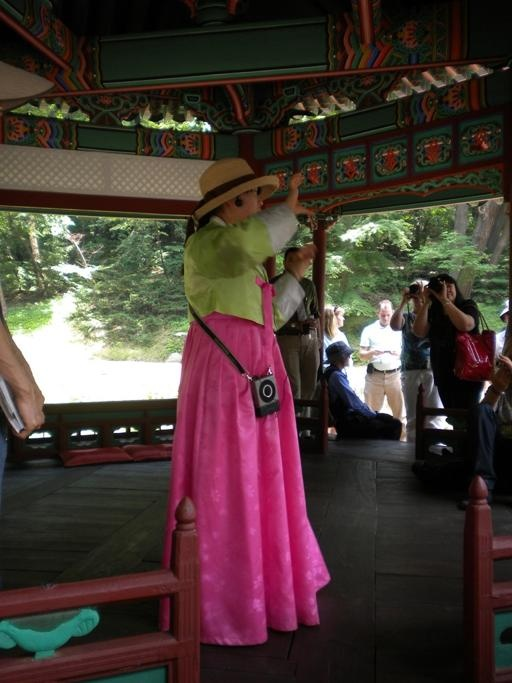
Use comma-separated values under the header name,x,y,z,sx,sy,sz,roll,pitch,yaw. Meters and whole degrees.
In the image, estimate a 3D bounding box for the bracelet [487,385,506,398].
name,x,y,z,sx,sy,sz,roll,pitch,yaw
bracelet,1.350,0.286,3.234,0.087,0.071,0.082,7,-7,-9

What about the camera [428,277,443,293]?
name,x,y,z,sx,sy,sz,roll,pitch,yaw
camera,1.236,-0.390,3.951,0.066,0.110,0.201,-1,0,-7

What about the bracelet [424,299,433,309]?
name,x,y,z,sx,sy,sz,roll,pitch,yaw
bracelet,1.279,-0.284,4.248,0.054,0.040,0.151,-16,-13,21

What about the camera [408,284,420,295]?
name,x,y,z,sx,sy,sz,roll,pitch,yaw
camera,1.316,-0.437,4.756,0.096,0.088,0.096,7,0,14

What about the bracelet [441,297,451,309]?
name,x,y,z,sx,sy,sz,roll,pitch,yaw
bracelet,1.288,-0.265,3.876,0.025,0.061,0.068,10,27,-12

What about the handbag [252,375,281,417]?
name,x,y,z,sx,sy,sz,roll,pitch,yaw
handbag,0.025,0.171,1.783,0.042,0.126,0.100,-1,0,34

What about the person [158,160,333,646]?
name,x,y,z,sx,sy,sz,roll,pitch,yaw
person,-0.056,0.166,1.802,0.496,1.383,0.412,-1,0,5
